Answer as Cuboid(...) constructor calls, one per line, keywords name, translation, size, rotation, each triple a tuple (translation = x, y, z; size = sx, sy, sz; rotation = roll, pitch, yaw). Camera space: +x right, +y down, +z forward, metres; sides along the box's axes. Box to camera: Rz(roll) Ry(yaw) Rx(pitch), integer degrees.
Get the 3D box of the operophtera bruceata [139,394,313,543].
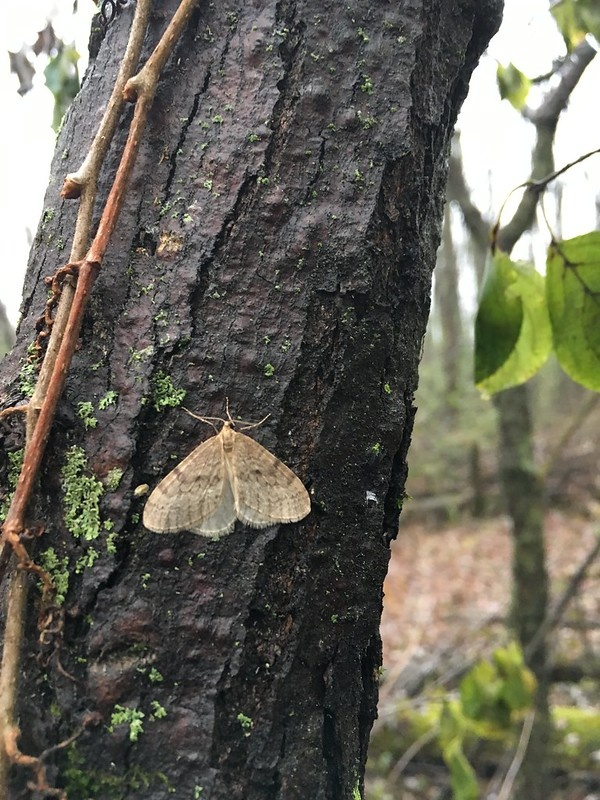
Cuboid(name="operophtera bruceata", translation=(-0.182, 0.163, 2.899), size=(0.390, 0.343, 0.109), rotation=(0, 3, -6))
